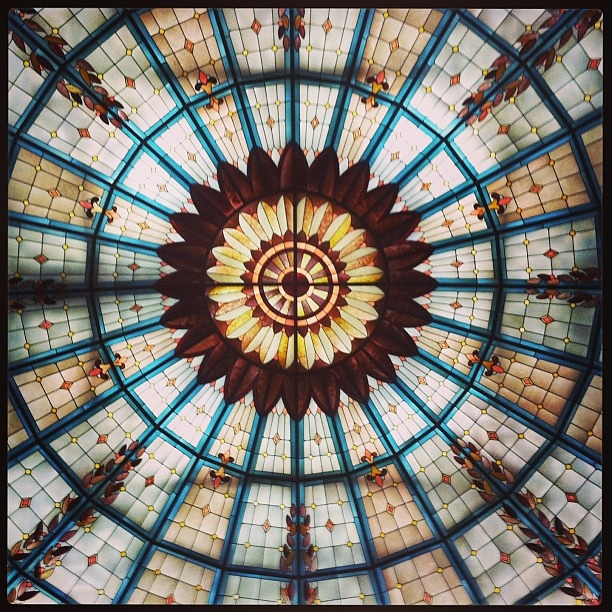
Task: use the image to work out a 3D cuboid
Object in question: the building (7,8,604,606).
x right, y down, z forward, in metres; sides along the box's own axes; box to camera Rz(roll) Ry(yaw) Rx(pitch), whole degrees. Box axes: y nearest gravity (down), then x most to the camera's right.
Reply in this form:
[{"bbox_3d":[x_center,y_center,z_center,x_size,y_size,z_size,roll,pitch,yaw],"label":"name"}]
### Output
[{"bbox_3d":[-0.065,0.103,9.262,10.289,1.695,10.752,-6,-88,0],"label":"building"}]
